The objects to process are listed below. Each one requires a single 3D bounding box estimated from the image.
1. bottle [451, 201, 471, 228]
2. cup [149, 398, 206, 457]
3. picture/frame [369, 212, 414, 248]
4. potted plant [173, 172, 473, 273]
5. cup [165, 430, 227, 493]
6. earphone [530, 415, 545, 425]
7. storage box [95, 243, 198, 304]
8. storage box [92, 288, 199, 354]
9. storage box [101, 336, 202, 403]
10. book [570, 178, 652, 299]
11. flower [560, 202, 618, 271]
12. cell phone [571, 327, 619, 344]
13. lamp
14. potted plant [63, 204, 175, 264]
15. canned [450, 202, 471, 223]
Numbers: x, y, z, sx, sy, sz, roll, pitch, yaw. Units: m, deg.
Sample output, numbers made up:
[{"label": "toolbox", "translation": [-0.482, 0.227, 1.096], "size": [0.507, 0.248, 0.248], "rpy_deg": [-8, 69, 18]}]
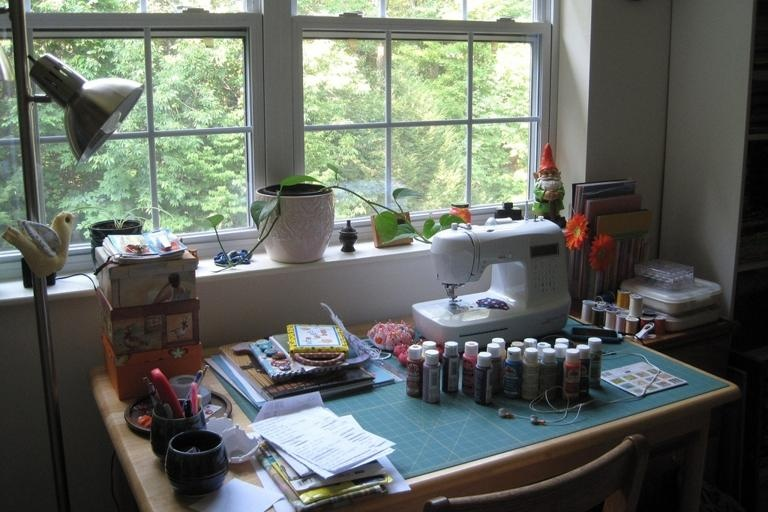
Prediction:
[{"label": "bottle", "translation": [0.325, -0.168, 2.553], "size": [0.098, 0.100, 0.075], "rpy_deg": [0, 10, 8]}, {"label": "cup", "translation": [-0.593, 0.475, 1.709], "size": [0.136, 0.128, 0.136], "rpy_deg": [1, 6, 0]}, {"label": "picture/frame", "translation": [0.027, -0.104, 2.466], "size": [0.143, 0.120, 0.019], "rpy_deg": [-10, 18, -29]}, {"label": "potted plant", "translation": [-0.145, -0.166, 2.414], "size": [1.053, 0.353, 0.296], "rpy_deg": [-8, 13, -15]}, {"label": "cup", "translation": [-0.487, 0.541, 1.605], "size": [0.154, 0.112, 0.155], "rpy_deg": [0, 15, 0]}, {"label": "earphone", "translation": [0.465, 0.498, 1.822], "size": [0.029, 0.011, 0.022], "rpy_deg": [2, 7, 25]}, {"label": "storage box", "translation": [-0.803, 0.060, 1.998], "size": [0.346, 0.147, 0.345], "rpy_deg": [0, 15, -10]}, {"label": "storage box", "translation": [-0.733, 0.221, 1.902], "size": [0.223, 0.126, 0.218], "rpy_deg": [-5, 8, -36]}, {"label": "storage box", "translation": [-0.749, 0.354, 1.916], "size": [0.232, 0.117, 0.229], "rpy_deg": [-8, 12, -37]}, {"label": "book", "translation": [0.944, -0.055, 2.518], "size": [0.422, 0.545, 0.164], "rpy_deg": [-10, 16, -29]}, {"label": "flower", "translation": [0.851, -0.059, 2.497], "size": [0.195, 0.239, 0.132], "rpy_deg": [-2, 11, 16]}, {"label": "cell phone", "translation": [0.804, 0.297, 2.282], "size": [0.140, 0.032, 0.079], "rpy_deg": [1, 14, 1]}, {"label": "lamp", "translation": [-0.852, -0.439, 1.755], "size": [0.262, 0.304, 0.189], "rpy_deg": [-2, 12, 20]}, {"label": "potted plant", "translation": [-1.007, -0.109, 2.206], "size": [0.246, 0.174, 0.212], "rpy_deg": [7, 15, 6]}, {"label": "canned", "translation": [0.327, -0.182, 2.543], "size": [0.087, 0.093, 0.075], "rpy_deg": [1, 11, 13]}]
